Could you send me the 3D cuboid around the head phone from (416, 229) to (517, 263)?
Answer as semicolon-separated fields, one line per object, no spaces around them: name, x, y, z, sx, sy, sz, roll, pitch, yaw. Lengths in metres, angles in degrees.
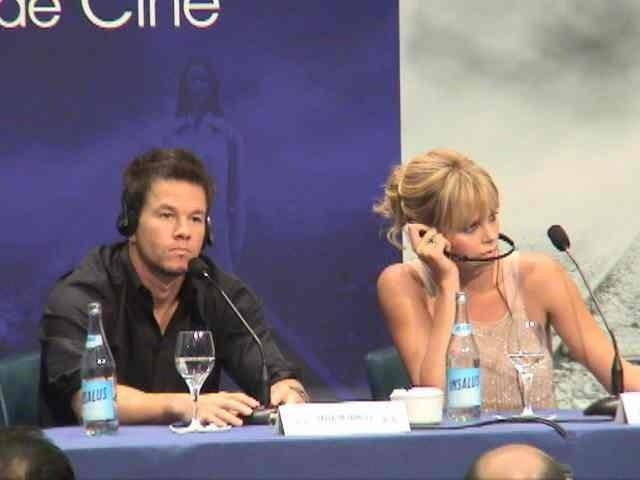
head phone;0.610;0.020;2.919;0.403;0.147;0.347;-4;2;-12

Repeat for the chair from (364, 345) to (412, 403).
chair;0.269;0.532;3.155;0.186;0.207;0.243;-15;33;-16

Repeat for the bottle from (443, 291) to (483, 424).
bottle;0.405;0.339;2.175;0.110;0.378;0.220;-3;3;10

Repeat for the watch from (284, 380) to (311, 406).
watch;-0.075;0.529;2.547;0.057;0.093;0.085;-2;25;-1
